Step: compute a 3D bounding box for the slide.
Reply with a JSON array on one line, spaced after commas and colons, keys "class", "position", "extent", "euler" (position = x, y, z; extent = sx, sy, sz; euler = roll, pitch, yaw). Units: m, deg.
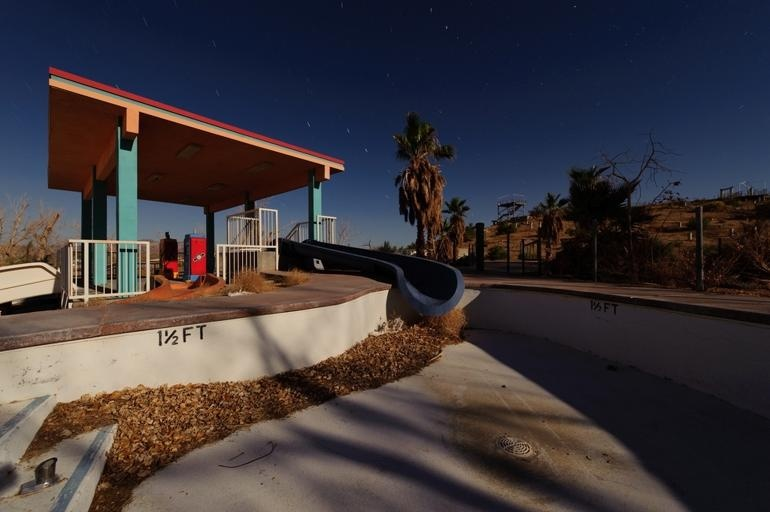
[{"class": "slide", "position": [-0.690, 0.697, 12.440], "extent": [1.942, 1.206, 6.567], "euler": [8, 8, -45]}]
